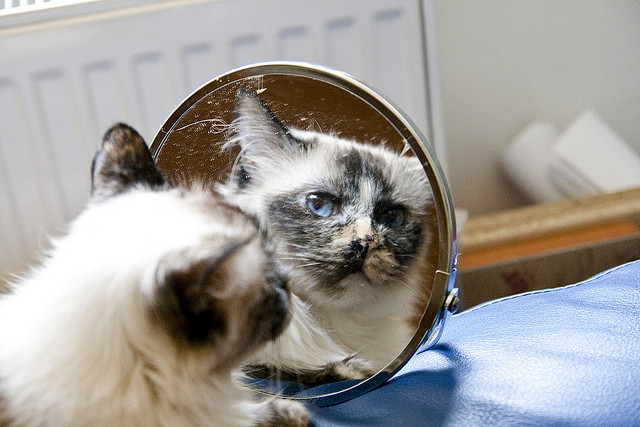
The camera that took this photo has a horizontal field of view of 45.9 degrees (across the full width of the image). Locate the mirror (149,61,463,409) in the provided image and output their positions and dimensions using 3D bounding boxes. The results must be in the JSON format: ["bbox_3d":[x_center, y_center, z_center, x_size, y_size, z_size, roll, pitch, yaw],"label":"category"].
[{"bbox_3d":[-0.015,0.016,1.312,0.521,0.150,0.605,9,66,-8],"label":"mirror"}]
